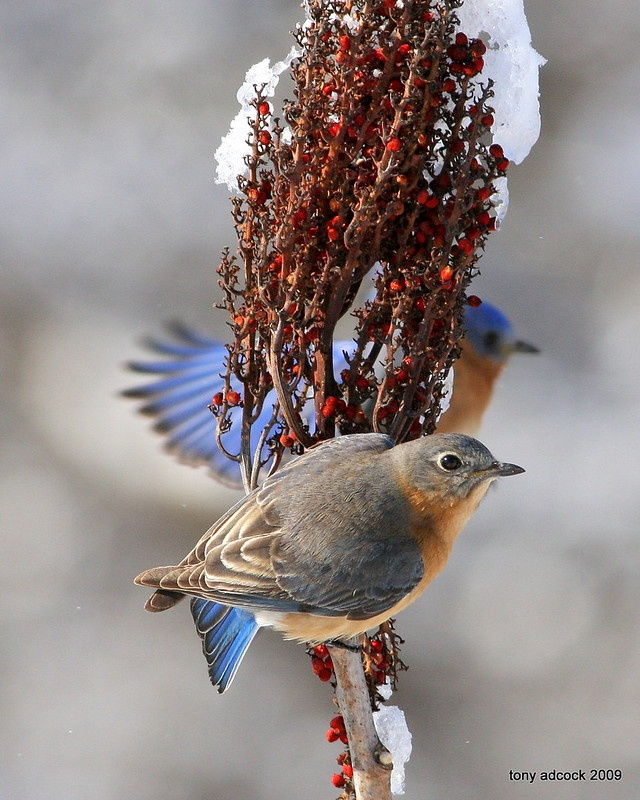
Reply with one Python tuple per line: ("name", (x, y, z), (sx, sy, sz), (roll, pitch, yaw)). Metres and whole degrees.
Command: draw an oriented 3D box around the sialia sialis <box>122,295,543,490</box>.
("sialia sialis", (0.003, -0.032, 3.534), (0.985, 0.542, 0.421), (1, 26, -4))
